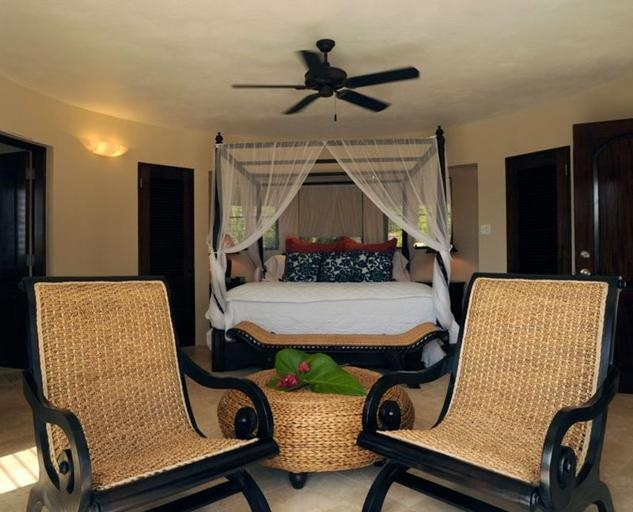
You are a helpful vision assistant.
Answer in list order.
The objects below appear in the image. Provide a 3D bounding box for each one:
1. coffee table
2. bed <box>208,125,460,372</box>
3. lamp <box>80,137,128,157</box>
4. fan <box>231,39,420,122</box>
[{"bbox_3d":[0.002,0.890,2.535,0.714,0.315,0.695,0,1,-3],"label":"coffee table"},{"bbox_3d":[0.194,-0.072,5.798,2.652,2.337,2.222,0,-6,2],"label":"bed"},{"bbox_3d":[-2.339,-1.205,5.517,0.111,0.203,0.556,0,4,35],"label":"lamp"},{"bbox_3d":[0.193,-1.447,4.004,0.842,0.435,1.214,-3,3,-10],"label":"fan"}]
